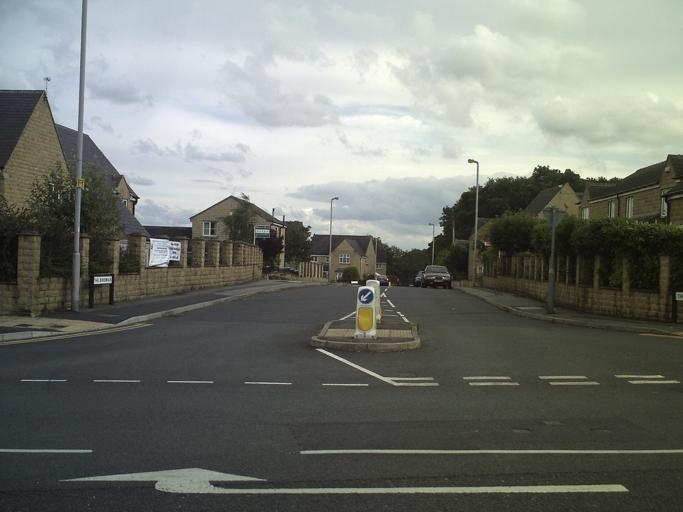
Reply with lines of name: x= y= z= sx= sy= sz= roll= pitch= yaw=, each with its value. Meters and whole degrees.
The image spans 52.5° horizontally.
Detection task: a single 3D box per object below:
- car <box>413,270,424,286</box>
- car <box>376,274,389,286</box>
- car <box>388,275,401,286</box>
car: x=6.674 y=1.975 z=58.201 sx=0.895 sy=0.986 sz=1.991 roll=-1 pitch=-4 yaw=0
car: x=4.069 y=2.437 z=70.975 sx=1.133 sy=1.904 sz=2.104 roll=1 pitch=-5 yaw=-2
car: x=5.742 y=2.541 z=74.977 sx=1.330 sy=1.238 sz=2.369 roll=-1 pitch=-7 yaw=1
